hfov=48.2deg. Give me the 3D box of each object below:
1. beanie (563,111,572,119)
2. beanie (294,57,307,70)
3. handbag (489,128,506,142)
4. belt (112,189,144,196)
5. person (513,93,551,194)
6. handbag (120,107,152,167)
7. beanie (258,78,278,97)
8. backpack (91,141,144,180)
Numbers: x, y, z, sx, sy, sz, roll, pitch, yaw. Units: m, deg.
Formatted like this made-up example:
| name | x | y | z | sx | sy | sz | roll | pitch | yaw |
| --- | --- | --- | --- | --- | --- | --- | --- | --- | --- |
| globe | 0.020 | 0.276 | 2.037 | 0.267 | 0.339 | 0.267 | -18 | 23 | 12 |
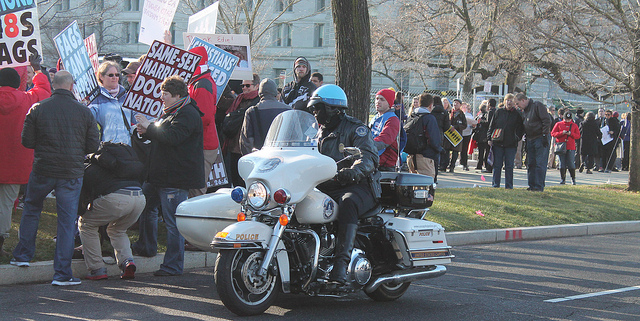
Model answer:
| name | x | y | z | sx | sy | sz | roll | pitch | yaw |
| --- | --- | --- | --- | --- | --- | --- | --- | --- | --- |
| beanie | 10.000 | -1.829 | 28.914 | 0.276 | 0.307 | 0.696 | 1 | -2 | 21 |
| beanie | -0.538 | -2.761 | 20.258 | 0.372 | 0.308 | 0.255 | 1 | -1 | 2 |
| handbag | 6.210 | -0.900 | 24.959 | 0.227 | 0.399 | 0.456 | 22 | -8 | -33 |
| belt | -4.561 | 0.767 | 17.083 | 0.685 | 0.144 | 0.176 | 2 | -2 | -33 |
| person | 7.308 | -0.589 | 24.787 | 1.205 | 3.469 | 1.009 | 1 | -1 | 13 |
| handbag | -4.900 | -0.756 | 18.788 | 0.584 | 2.111 | 0.171 | -2 | -24 | -26 |
| beanie | -1.377 | -1.938 | 19.103 | 0.453 | 0.526 | 0.430 | 1 | -1 | -5 |
| backpack | -4.727 | -0.019 | 17.068 | 0.461 | 1.047 | 0.850 | -48 | 4 | 39 |
